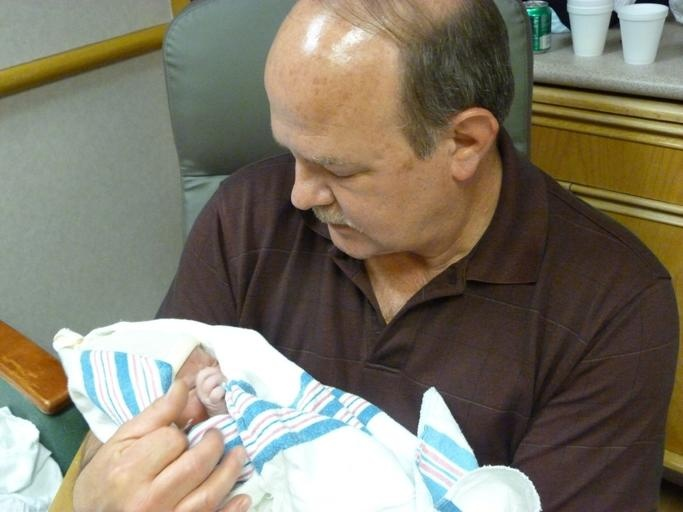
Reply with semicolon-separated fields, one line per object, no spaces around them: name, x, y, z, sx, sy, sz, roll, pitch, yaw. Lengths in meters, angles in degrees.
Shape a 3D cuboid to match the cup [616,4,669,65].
cup;0.816;-0.607;1.846;0.139;0.172;0.156;-2;27;6
